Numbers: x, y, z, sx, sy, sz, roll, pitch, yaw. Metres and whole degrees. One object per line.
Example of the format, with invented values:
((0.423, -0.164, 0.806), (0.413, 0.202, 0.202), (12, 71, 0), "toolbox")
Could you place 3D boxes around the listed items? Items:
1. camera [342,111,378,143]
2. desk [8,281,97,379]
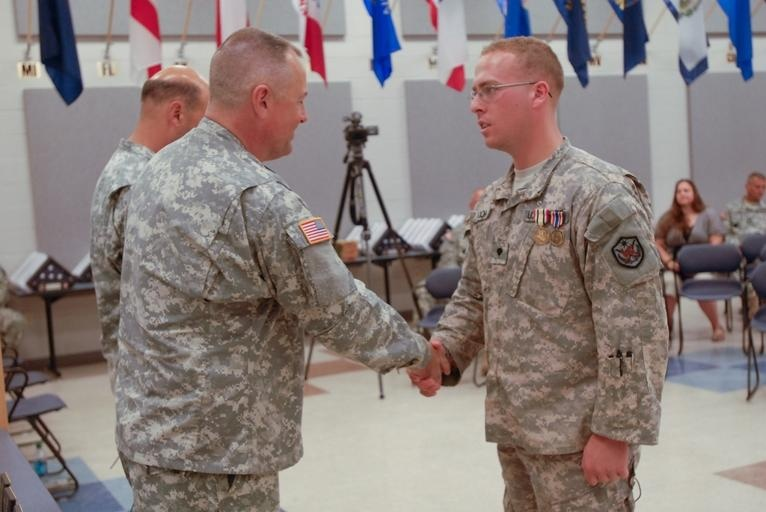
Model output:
((-0.254, -1.250, 9.013), (0.421, 0.383, 0.300), (0, 12, -5), "camera")
((-3.713, 0.863, 10.769), (1.225, 1.198, 0.909), (-2, -1, -27), "desk")
